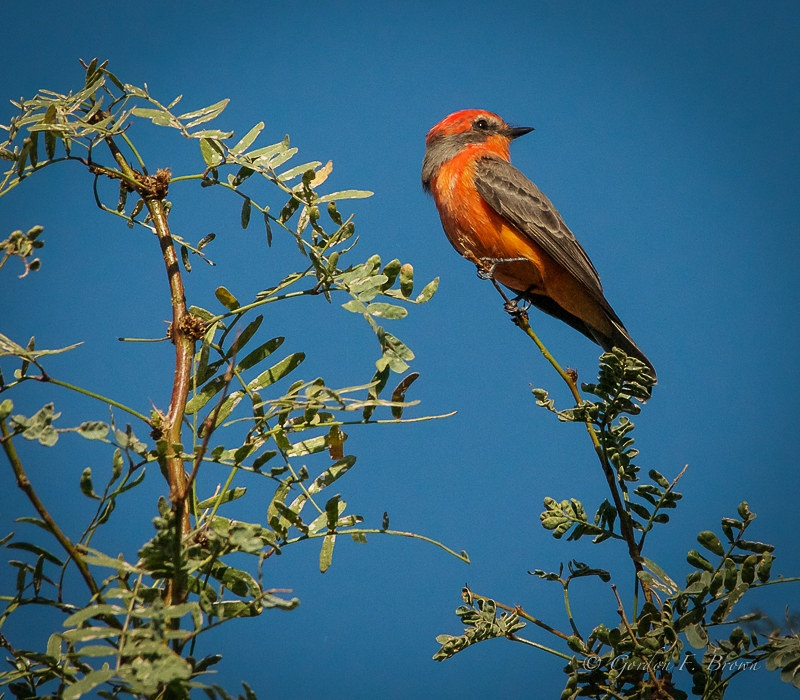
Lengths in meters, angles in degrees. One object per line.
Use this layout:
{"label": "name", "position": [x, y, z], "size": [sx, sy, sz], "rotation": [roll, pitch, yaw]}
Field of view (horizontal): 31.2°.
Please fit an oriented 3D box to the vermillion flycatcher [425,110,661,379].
{"label": "vermillion flycatcher", "position": [0.321, -0.270, 3.339], "size": [0.494, 0.622, 0.284], "rotation": [3, -18, -4]}
